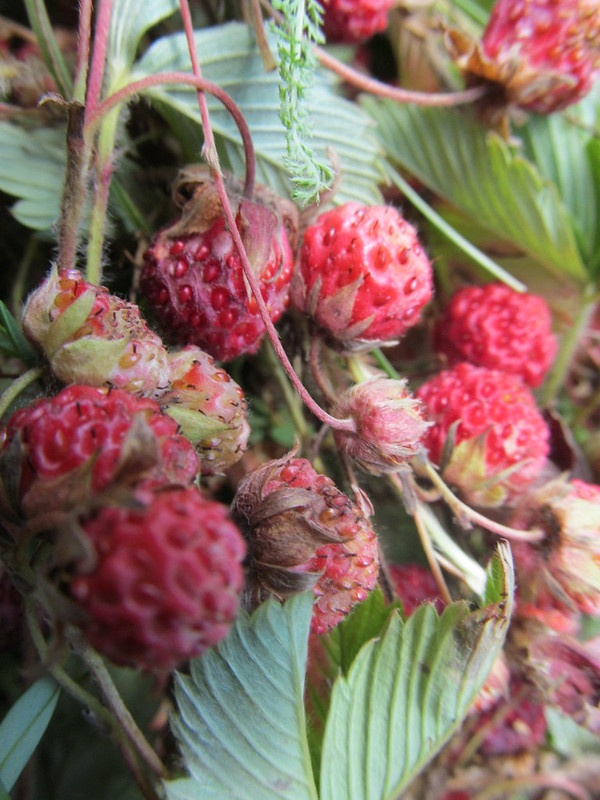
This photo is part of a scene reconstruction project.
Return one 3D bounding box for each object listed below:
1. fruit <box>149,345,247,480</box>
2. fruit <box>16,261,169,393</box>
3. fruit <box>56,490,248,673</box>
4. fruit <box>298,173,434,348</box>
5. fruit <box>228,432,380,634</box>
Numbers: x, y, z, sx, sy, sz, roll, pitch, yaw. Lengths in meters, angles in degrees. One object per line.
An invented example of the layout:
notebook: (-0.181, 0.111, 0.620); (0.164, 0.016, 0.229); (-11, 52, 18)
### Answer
fruit: (-0.074, 0.007, 0.642); (0.067, 0.072, 0.092); (-16, 49, -15)
fruit: (-0.155, -0.058, 0.607); (0.090, 0.074, 0.104); (40, 17, -28)
fruit: (-0.095, 0.113, 0.471); (0.098, 0.129, 0.085); (5, 54, -16)
fruit: (0.057, -0.133, 0.740); (0.124, 0.128, 0.142); (34, 23, 5)
fruit: (0.012, 0.097, 0.654); (0.122, 0.129, 0.141); (-38, 91, -9)
